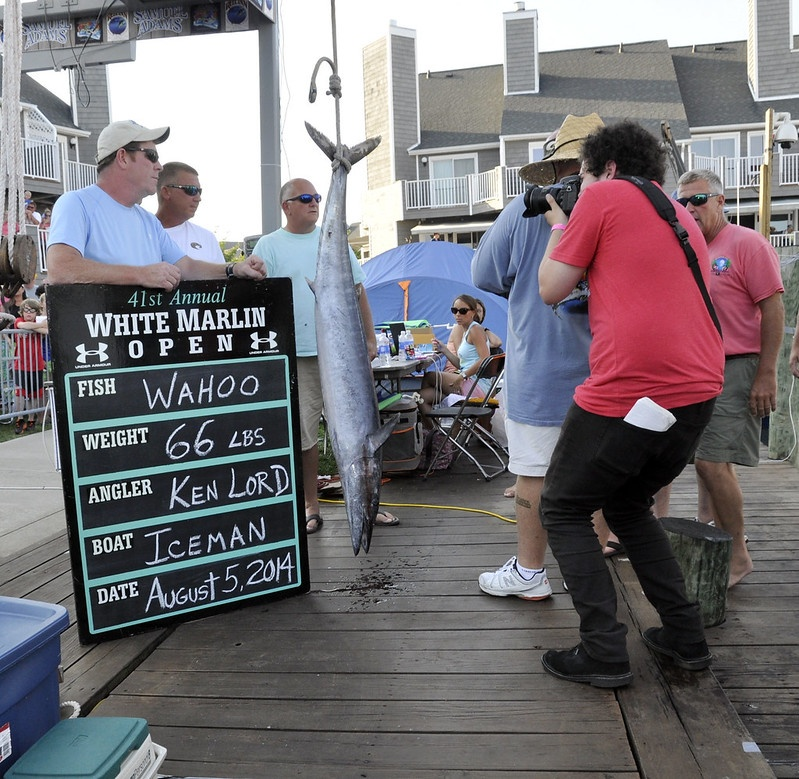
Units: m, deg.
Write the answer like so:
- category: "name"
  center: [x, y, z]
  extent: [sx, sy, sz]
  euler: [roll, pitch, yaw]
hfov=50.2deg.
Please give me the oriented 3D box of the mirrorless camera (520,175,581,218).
- category: "mirrorless camera"
  center: [0.510, -0.641, 2.885]
  extent: [0.178, 0.093, 0.174]
  euler: [-1, 7, 30]

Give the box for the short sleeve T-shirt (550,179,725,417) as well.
- category: "short sleeve T-shirt"
  center: [0.725, -0.289, 2.602]
  extent: [0.505, 0.721, 0.241]
  euler: [0, 10, 15]

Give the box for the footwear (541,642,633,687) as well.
- category: "footwear"
  center: [0.599, 0.902, 2.800]
  extent: [0.294, 0.127, 0.117]
  euler: [5, 9, 35]

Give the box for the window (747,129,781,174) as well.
- category: "window"
  center: [8.990, -6.016, 21.176]
  extent: [1.142, 1.010, 0.629]
  euler: [-11, 13, -43]

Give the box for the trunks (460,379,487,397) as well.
- category: "trunks"
  center: [0.695, -0.031, 7.503]
  extent: [0.284, 0.098, 0.165]
  euler: [1, 3, 25]

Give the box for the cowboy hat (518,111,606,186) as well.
- category: "cowboy hat"
  center: [0.629, -0.954, 3.202]
  extent: [0.343, 0.156, 0.323]
  euler: [-12, -4, -14]

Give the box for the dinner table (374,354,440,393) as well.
- category: "dinner table"
  center: [-0.017, -0.154, 6.018]
  extent: [0.286, 0.139, 0.622]
  euler: [2, 11, 9]

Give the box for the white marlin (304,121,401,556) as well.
- category: "white marlin"
  center: [-0.133, -0.213, 3.448]
  extent: [0.339, 1.638, 0.369]
  euler: [-11, 3, -7]

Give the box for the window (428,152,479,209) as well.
- category: "window"
  center: [1.508, -5.633, 22.689]
  extent: [1.906, 1.861, 0.152]
  euler: [-1, -11, 10]

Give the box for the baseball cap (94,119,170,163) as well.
- category: "baseball cap"
  center: [-1.022, -0.973, 3.295]
  extent: [0.273, 0.156, 0.314]
  euler: [-4, 9, -14]

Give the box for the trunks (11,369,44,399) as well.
- category: "trunks"
  center: [-3.595, -0.072, 8.354]
  extent: [0.231, 0.355, 0.298]
  euler: [1, 2, 37]

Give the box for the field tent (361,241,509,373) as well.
- category: "field tent"
  center: [0.400, -1.027, 9.923]
  extent: [1.541, 0.911, 1.434]
  euler: [1, 6, 4]

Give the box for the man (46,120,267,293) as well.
- category: "man"
  center: [-0.960, -0.703, 3.455]
  extent: [1.055, 0.639, 0.656]
  euler: [-3, 17, -40]

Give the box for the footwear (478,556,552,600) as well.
- category: "footwear"
  center: [0.462, 0.762, 3.464]
  extent: [0.330, 0.142, 0.122]
  euler: [1, 8, 22]
